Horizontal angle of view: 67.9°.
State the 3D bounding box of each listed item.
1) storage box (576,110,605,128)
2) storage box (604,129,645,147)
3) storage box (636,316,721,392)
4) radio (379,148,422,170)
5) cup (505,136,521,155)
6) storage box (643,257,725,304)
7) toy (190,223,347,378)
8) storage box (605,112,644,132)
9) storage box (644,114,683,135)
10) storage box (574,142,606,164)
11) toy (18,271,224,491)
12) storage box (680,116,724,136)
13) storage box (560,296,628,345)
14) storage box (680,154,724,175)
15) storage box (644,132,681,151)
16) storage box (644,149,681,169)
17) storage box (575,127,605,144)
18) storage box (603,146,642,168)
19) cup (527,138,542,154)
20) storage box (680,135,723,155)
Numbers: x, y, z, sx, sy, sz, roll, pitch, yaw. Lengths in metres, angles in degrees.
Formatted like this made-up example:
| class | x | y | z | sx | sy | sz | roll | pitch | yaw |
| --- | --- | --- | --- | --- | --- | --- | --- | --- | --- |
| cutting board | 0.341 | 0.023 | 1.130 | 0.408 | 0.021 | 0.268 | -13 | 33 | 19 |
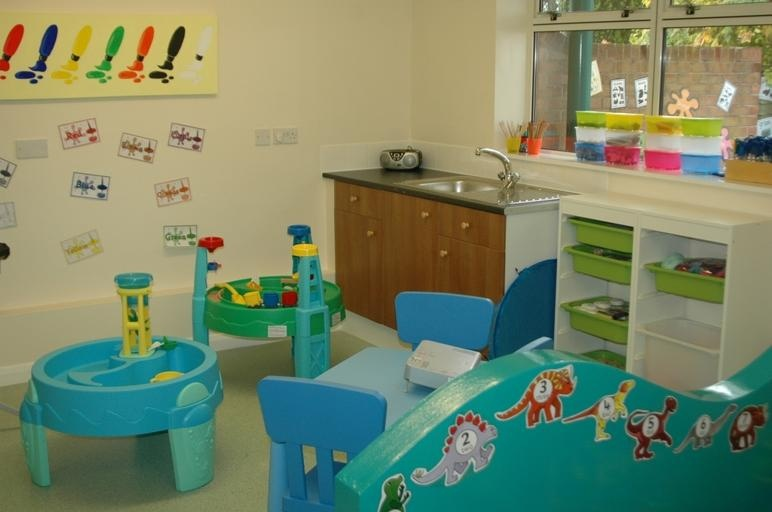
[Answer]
| class | x | y | z | sx | sy | sz | roll | pitch | yaw |
| --- | --- | --- | --- | --- | --- | --- | --- | --- | --- |
| storage box | 1.352 | -0.895 | 3.770 | 0.155 | 0.067 | 0.105 | 5 | 8 | 39 |
| storage box | 1.506 | -0.738 | 3.636 | 0.161 | 0.060 | 0.134 | 4 | 8 | 30 |
| storage box | 1.654 | 0.550 | 3.168 | 0.425 | 0.332 | 0.407 | 8 | 16 | 43 |
| radio | 0.124 | -0.783 | 4.706 | 0.353 | 0.159 | 0.218 | -3 | 12 | -1 |
| cup | 0.935 | -0.817 | 4.248 | 0.115 | 0.118 | 0.112 | -1 | 16 | 0 |
| storage box | 1.556 | 0.136 | 2.998 | 0.118 | 0.153 | 0.426 | -9 | 13 | -26 |
| toy | -0.631 | 0.315 | 3.878 | 0.906 | 0.761 | 0.988 | 6 | 18 | 21 |
| storage box | 1.493 | -0.828 | 3.608 | 0.132 | 0.089 | 0.179 | -5 | 7 | -44 |
| storage box | 1.663 | -0.780 | 3.427 | 0.099 | 0.118 | 0.197 | -10 | 14 | -31 |
| storage box | 1.348 | -0.688 | 3.788 | 0.168 | 0.087 | 0.116 | 4 | 8 | 34 |
| toy | -1.249 | 0.691 | 3.034 | 1.067 | 1.059 | 1.084 | -4 | 13 | -24 |
| storage box | 1.803 | -0.737 | 3.282 | 0.195 | 0.110 | 0.077 | 2 | 13 | 23 |
| storage box | 1.270 | 0.369 | 3.469 | 0.331 | 0.109 | 0.286 | 9 | 12 | 36 |
| storage box | 1.845 | -0.522 | 3.345 | 0.136 | 0.089 | 0.181 | -6 | 8 | -43 |
| storage box | 1.664 | -0.683 | 3.455 | 0.146 | 0.049 | 0.114 | 5 | 8 | 40 |
| storage box | 1.670 | -0.579 | 3.460 | 0.202 | 0.125 | 0.055 | 2 | 13 | 24 |
| storage box | 1.346 | -0.793 | 3.780 | 0.157 | 0.076 | 0.107 | 6 | 11 | 37 |
| storage box | 1.495 | -0.615 | 3.617 | 0.189 | 0.094 | 0.148 | 4 | 9 | 28 |
| cup | 1.074 | -0.787 | 4.129 | 0.099 | 0.118 | 0.069 | -6 | 12 | -12 |
| storage box | 1.820 | -0.637 | 3.311 | 0.166 | 0.066 | 0.129 | 5 | 8 | 34 |
